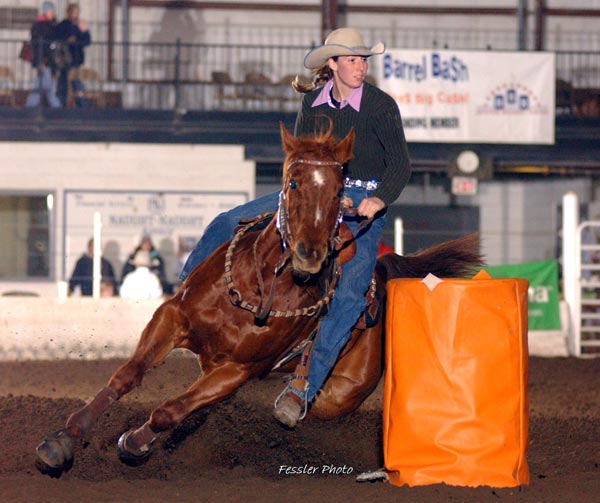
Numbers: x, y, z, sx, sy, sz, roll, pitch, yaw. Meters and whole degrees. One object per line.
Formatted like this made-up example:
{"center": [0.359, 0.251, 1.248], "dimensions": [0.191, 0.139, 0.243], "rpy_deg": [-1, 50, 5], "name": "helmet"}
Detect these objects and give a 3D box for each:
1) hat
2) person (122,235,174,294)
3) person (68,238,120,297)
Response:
{"center": [0.460, -2.590, 24.443], "dimensions": [0.664, 0.277, 0.603], "rpy_deg": [-15, -5, 41], "name": "hat"}
{"center": [-2.397, 0.069, 30.136], "dimensions": [0.632, 0.970, 0.497], "rpy_deg": [5, -33, -6], "name": "person"}
{"center": [-3.224, 0.292, 29.990], "dimensions": [0.653, 1.363, 0.404], "rpy_deg": [4, -25, -9], "name": "person"}
